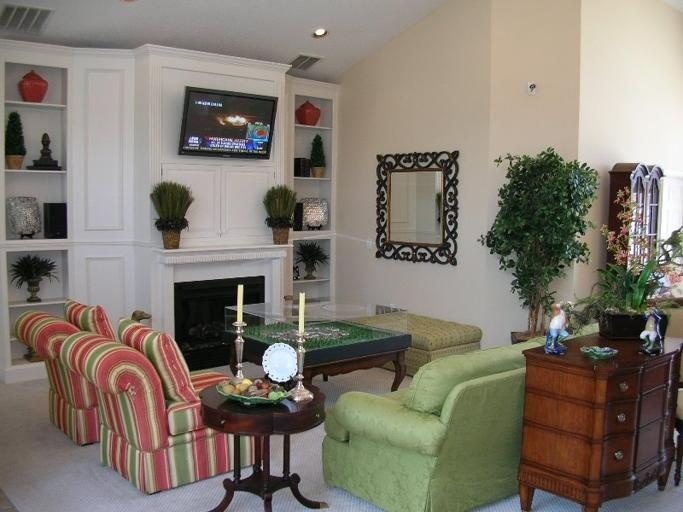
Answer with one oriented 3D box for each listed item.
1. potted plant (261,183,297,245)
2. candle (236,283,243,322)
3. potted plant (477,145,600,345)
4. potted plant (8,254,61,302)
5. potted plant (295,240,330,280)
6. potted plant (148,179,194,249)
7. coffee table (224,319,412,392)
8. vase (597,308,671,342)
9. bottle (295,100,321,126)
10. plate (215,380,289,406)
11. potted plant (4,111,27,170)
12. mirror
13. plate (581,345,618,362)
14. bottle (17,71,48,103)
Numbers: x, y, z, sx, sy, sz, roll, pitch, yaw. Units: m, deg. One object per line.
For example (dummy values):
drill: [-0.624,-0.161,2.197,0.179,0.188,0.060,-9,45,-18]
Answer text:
potted plant: [-0.795,-0.522,6.701,0.390,0.710,0.424,0,-5,-43]
candle: [-0.702,0.337,3.611,0.039,0.275,0.357,-1,3,-13]
potted plant: [2.132,-0.131,5.619,1.160,1.842,1.059,4,3,-17]
potted plant: [-3.516,0.216,6.033,0.476,0.502,0.477,-2,7,-35]
potted plant: [-0.466,0.025,7.736,0.499,0.537,0.507,7,9,41]
potted plant: [-1.907,-0.475,5.934,0.425,0.670,0.430,-2,4,-32]
coffee table: [-0.091,0.812,4.868,0.946,0.497,0.960,-5,8,-38]
vase: [2.000,0.457,3.636,0.338,0.151,0.227,0,0,-11]
bottle: [-0.485,-1.963,7.513,0.366,0.392,0.332,-2,1,-40]
plate: [-0.547,0.834,3.219,0.242,0.055,0.208,6,6,29]
potted plant: [-3.534,-1.243,5.704,0.189,0.613,0.119,-2,4,-33]
mirror: [1.004,-0.638,6.720,1.380,1.622,0.075,3,4,44]
plate: [1.587,0.591,3.209,0.240,0.054,0.155,-1,3,-24]
bottle: [-3.428,-1.881,5.842,0.275,0.400,0.298,0,3,0]
